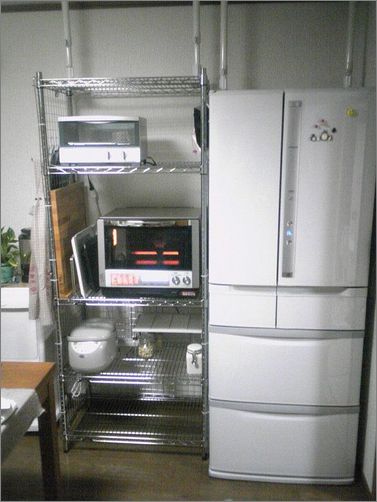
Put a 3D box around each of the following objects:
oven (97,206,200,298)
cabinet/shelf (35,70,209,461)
[{"bbox_3d":[-0.177,-0.032,2.115,0.341,0.325,0.393,1,8,3],"label":"oven"},{"bbox_3d":[-0.251,0.096,2.205,0.721,1.875,0.348,0,15,1],"label":"cabinet/shelf"}]
